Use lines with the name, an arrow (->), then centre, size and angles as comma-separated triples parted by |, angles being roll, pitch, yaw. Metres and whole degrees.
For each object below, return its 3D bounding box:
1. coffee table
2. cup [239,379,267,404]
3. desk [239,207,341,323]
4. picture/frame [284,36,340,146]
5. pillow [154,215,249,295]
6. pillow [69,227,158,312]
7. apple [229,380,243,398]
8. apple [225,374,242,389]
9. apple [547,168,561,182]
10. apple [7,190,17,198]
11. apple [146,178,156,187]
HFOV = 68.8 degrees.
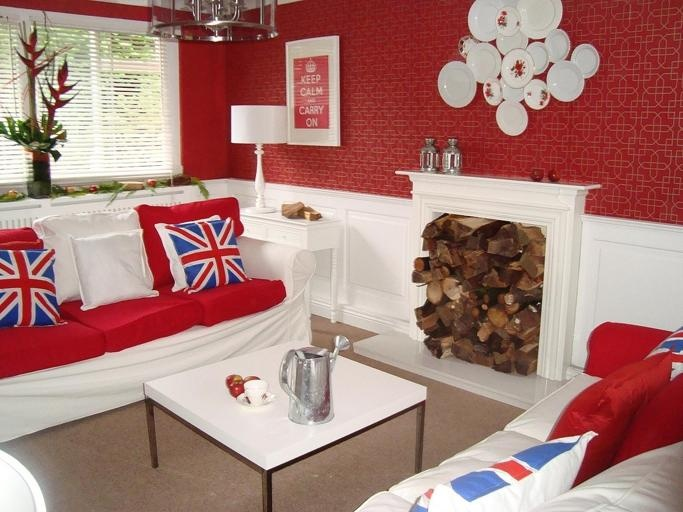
coffee table -> -0.342, 0.681, 2.363 | 1.012, 0.476, 0.998 | -11, 16, -40
cup -> -0.406, 0.608, 2.288 | 0.109, 0.075, 0.099 | 2, 10, 0
desk -> -0.440, 0.039, 4.125 | 0.410, 0.844, 1.055 | -6, 12, -43
picture/frame -> -0.276, -1.528, 4.636 | 0.722, 0.958, 0.130 | 11, 20, 37
pillow -> -1.013, -0.017, 3.620 | 0.584, 0.537, 0.170 | -12, -7, -31
pillow -> -1.544, 0.092, 3.337 | 0.552, 0.470, 0.160 | -10, -4, -45
apple -> -0.493, 0.629, 2.346 | 0.071, 0.063, 0.067 | 4, 28, -15
apple -> -0.511, 0.608, 2.414 | 0.064, 0.061, 0.065 | 20, 4, 40
apple -> 1.378, -0.534, 3.265 | 0.090, 0.095, 0.087 | -5, 5, -29
apple -> -2.879, -0.549, 4.350 | 0.074, 0.068, 0.086 | -10, 3, -33
apple -> -1.943, -0.754, 5.060 | 0.076, 0.074, 0.082 | -18, 19, -42
